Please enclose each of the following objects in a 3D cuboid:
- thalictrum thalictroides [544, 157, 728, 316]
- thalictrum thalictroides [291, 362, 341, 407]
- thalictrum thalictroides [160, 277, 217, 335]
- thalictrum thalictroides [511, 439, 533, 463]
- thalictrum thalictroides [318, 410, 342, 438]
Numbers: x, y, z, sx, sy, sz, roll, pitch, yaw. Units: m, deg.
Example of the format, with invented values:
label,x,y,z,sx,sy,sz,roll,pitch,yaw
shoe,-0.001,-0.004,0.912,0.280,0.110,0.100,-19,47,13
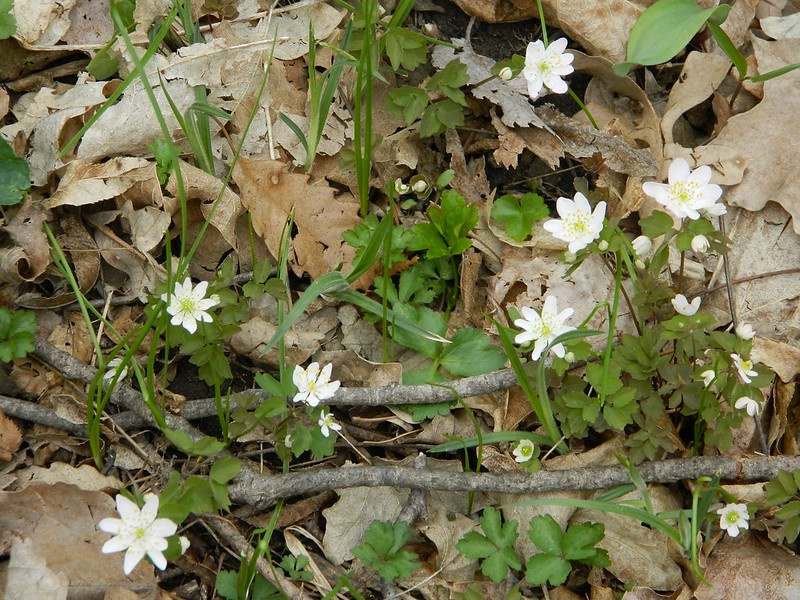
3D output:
label,x,y,z,sx,sy,sz,roll,pitch,yaw
thalictrum thalictroides,0.910,-0.323,3.208,0.757,0.212,0.382,-27,101,8
thalictrum thalictroides,-0.350,0.313,3.282,0.159,0.172,0.075,-25,102,-46
thalictrum thalictroides,-0.877,0.027,3.273,0.201,0.101,0.228,9,52,-23
thalictrum thalictroides,0.540,0.665,3.453,0.078,0.109,0.101,11,63,-2
thalictrum thalictroides,-0.307,0.537,3.354,0.077,0.211,0.088,-23,67,-18
